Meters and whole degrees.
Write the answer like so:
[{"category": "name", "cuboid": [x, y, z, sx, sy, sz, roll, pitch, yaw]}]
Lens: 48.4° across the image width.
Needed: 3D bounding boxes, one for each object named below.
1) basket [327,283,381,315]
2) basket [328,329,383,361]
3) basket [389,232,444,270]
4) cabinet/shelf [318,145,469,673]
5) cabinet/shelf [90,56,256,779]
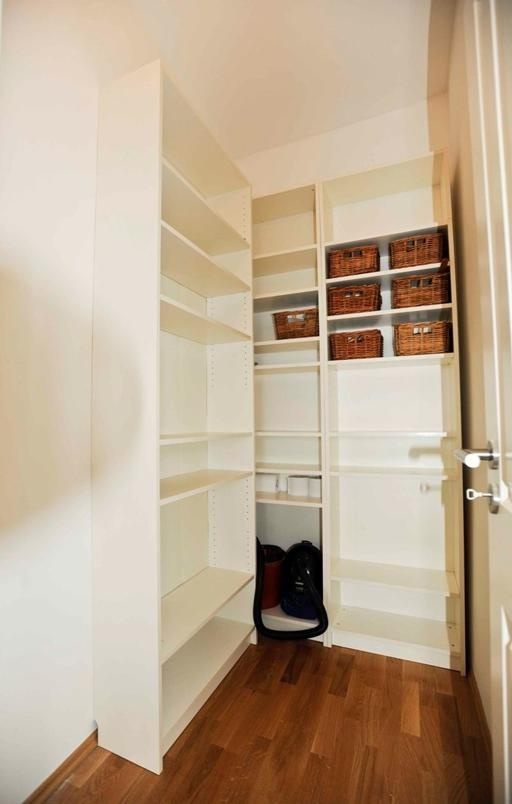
[{"category": "basket", "cuboid": [0.408, -0.429, 2.400, 0.222, 0.133, 0.173, 2, 9, 16]}, {"category": "basket", "cuboid": [0.414, -0.222, 2.380, 0.166, 0.114, 0.129, 0, 2, 26]}, {"category": "basket", "cuboid": [0.638, -0.593, 2.257, 0.215, 0.132, 0.107, 2, 9, 15]}, {"category": "cabinet/shelf", "cuboid": [0.547, -0.004, 2.382, 0.620, 1.936, 0.691, 2, 8, 14]}, {"category": "cabinet/shelf", "cuboid": [-0.266, -0.011, 2.058, 0.377, 2.099, 1.045, 2, 9, 19]}]
